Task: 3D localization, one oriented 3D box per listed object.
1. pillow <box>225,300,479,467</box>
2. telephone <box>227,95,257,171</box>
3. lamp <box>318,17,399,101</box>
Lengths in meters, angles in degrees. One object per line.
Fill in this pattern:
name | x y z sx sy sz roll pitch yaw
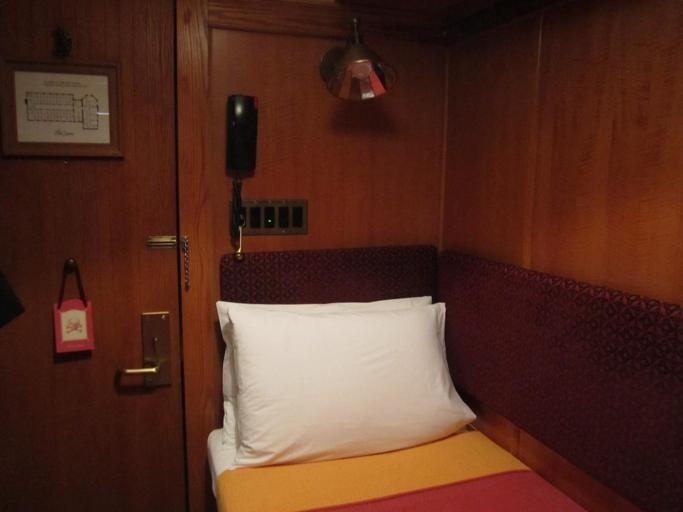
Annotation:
pillow | 0.040 0.559 2.258 0.983 0.695 0.399 0 -5 -7
telephone | -0.460 -0.548 2.347 0.096 0.321 0.120 4 5 37
lamp | 0.066 -0.875 2.337 0.283 0.335 0.397 -2 14 -13
